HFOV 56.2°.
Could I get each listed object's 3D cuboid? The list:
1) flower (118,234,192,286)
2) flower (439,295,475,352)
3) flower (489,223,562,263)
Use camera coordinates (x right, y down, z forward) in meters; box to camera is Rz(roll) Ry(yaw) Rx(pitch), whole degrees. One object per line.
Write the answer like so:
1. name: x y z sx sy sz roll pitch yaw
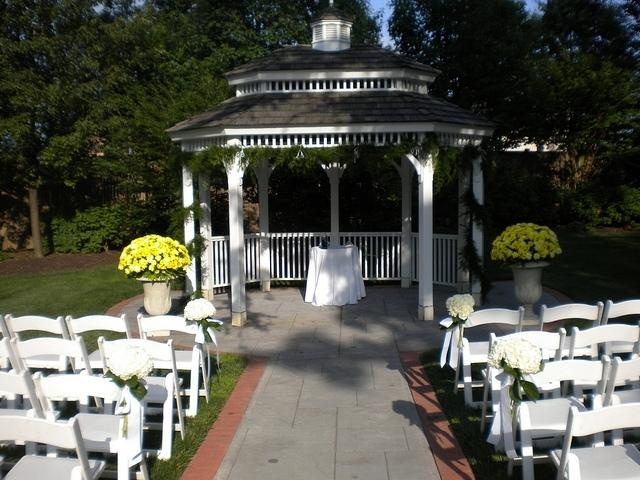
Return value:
1. flower: -3.010 0.315 11.323 1.055 0.790 1.075 0 7 -22
2. flower: 1.927 1.184 8.243 0.370 0.840 0.356 1 10 6
3. flower: 3.884 0.078 11.315 0.887 0.602 0.865 -11 11 -32
